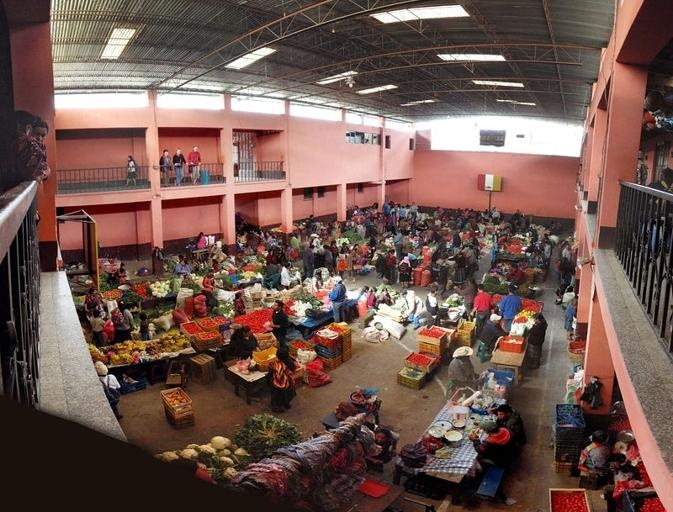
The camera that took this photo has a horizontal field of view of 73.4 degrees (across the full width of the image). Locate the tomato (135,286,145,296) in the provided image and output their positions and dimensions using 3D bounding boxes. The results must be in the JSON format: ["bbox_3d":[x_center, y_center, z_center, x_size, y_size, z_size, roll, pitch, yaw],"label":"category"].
[{"bbox_3d":[-6.469,1.132,14.989,0.348,0.201,0.339,12,24,-49],"label":"tomato"}]

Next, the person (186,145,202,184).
[{"bbox_3d":[-6.969,-4.580,22.186,0.483,1.716,1.594,-4,16,-17],"label":"person"}]

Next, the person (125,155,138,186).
[{"bbox_3d":[-9.237,-3.955,20.428,0.449,1.244,1.408,-6,17,-23],"label":"person"}]

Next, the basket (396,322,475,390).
[{"bbox_3d":[2.636,2.577,11.110,1.483,0.469,1.639,8,17,37],"label":"basket"}]

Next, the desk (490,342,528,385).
[{"bbox_3d":[4.274,2.566,11.136,0.705,0.620,1.314,3,9,28],"label":"desk"}]

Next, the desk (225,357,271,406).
[{"bbox_3d":[-2.119,2.813,10.475,0.886,0.661,0.927,23,23,27],"label":"desk"}]

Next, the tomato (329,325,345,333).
[{"bbox_3d":[0.117,1.958,12.235,0.242,0.078,0.233,6,11,25],"label":"tomato"}]

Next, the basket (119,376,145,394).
[{"bbox_3d":[-4.737,2.981,10.514,0.558,0.336,0.324,-4,16,-18],"label":"basket"}]

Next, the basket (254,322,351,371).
[{"bbox_3d":[-0.422,2.417,11.894,1.051,0.790,1.859,14,28,43],"label":"basket"}]

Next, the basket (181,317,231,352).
[{"bbox_3d":[-3.536,2.120,12.080,0.949,0.398,1.267,-6,17,-25],"label":"basket"}]

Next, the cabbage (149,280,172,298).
[{"bbox_3d":[-6.067,1.112,15.659,0.665,0.218,0.599,18,23,33],"label":"cabbage"}]

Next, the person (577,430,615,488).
[{"bbox_3d":[4.428,3.558,7.838,0.398,0.968,0.479,6,9,6],"label":"person"}]

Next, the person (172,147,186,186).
[{"bbox_3d":[-7.393,-4.287,21.375,0.519,1.629,1.052,-1,15,-9],"label":"person"}]

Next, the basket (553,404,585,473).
[{"bbox_3d":[4.246,3.355,8.187,0.418,0.869,1.085,3,4,28],"label":"basket"}]

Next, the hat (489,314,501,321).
[{"bbox_3d":[4.187,1.625,11.855,0.251,0.185,0.356,5,16,15],"label":"hat"}]

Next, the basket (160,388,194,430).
[{"bbox_3d":[-3.313,3.111,9.430,0.593,0.586,0.940,-3,11,-32],"label":"basket"}]

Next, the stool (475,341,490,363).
[{"bbox_3d":[3.992,2.535,12.100,0.349,0.668,0.362,7,16,20],"label":"stool"}]

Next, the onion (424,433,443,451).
[{"bbox_3d":[1.653,3.241,7.804,0.166,0.081,0.226,-3,9,-12],"label":"onion"}]
